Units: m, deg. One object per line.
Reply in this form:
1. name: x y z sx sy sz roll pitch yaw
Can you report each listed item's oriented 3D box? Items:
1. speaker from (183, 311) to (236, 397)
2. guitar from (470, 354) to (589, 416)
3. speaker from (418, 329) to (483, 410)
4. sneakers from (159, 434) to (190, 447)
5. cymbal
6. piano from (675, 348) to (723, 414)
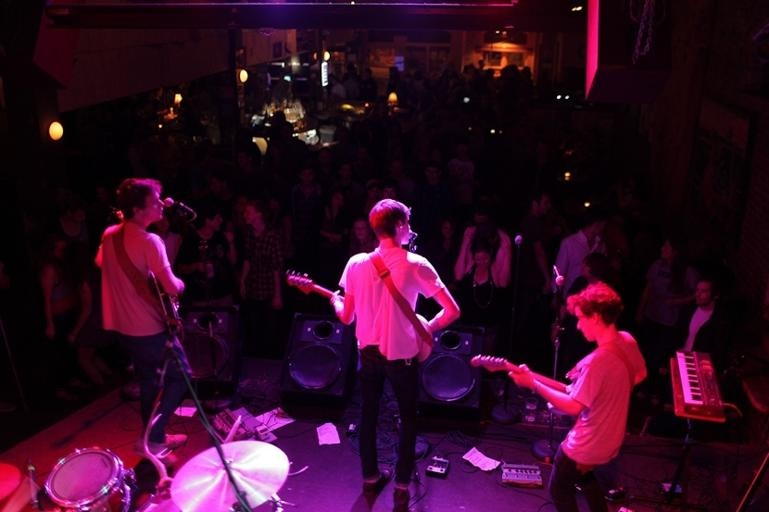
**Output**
1. speaker: -1.829 1.020 6.227 0.564 0.936 0.383 -2 18 -11
2. guitar: 1.058 0.956 4.508 0.860 0.130 0.396 31 25 24
3. speaker: 0.690 1.262 6.237 0.708 0.668 1.026 4 63 10
4. sneakers: -2.009 1.746 5.674 0.276 0.123 0.094 -8 39 -28
5. cymbal: -1.162 1.752 4.484 0.831 0.467 0.537 1 18 -4
6. piano: 2.615 1.107 4.975 0.355 0.144 0.716 0 37 25
